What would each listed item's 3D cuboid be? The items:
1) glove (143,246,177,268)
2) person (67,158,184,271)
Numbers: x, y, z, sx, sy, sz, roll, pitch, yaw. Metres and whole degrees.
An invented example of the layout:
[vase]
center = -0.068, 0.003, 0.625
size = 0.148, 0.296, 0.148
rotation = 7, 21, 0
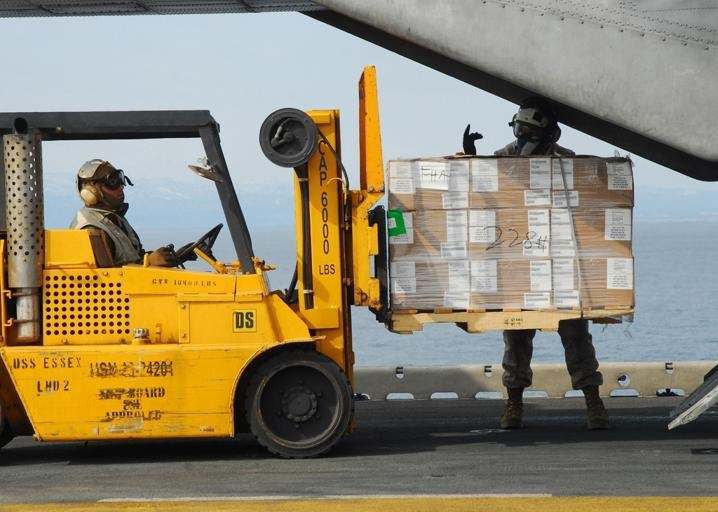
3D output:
[glove]
center = -2.052, 0.014, 19.891
size = 0.305, 0.139, 0.207
rotation = -7, 4, 3
[person]
center = -2.473, -0.279, 19.260
size = 1.457, 1.192, 0.974
rotation = -3, 10, -8
